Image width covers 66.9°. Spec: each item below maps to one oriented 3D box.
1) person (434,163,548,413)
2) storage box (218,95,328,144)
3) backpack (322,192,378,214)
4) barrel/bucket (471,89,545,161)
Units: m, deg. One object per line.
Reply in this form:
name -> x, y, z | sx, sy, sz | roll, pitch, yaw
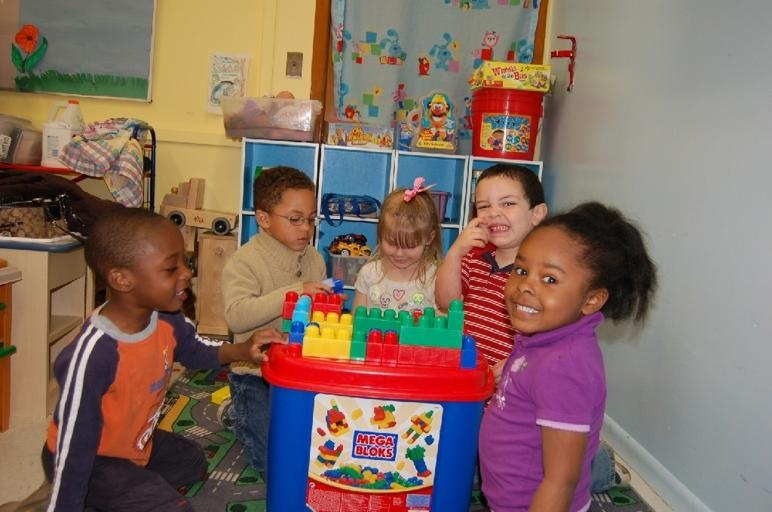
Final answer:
person -> 0.455, 0.207, 2.346 | 0.504, 1.123, 0.427 | 5, 3, 21
storage box -> -0.656, -0.776, 3.410 | 0.436, 0.188, 0.297 | 1, 11, 1
backpack -> -0.212, -0.315, 3.519 | 0.218, 0.087, 0.164 | 1, 11, -1
barrel/bucket -> 0.727, -0.768, 3.489 | 0.410, 0.310, 0.375 | 2, 6, 0
